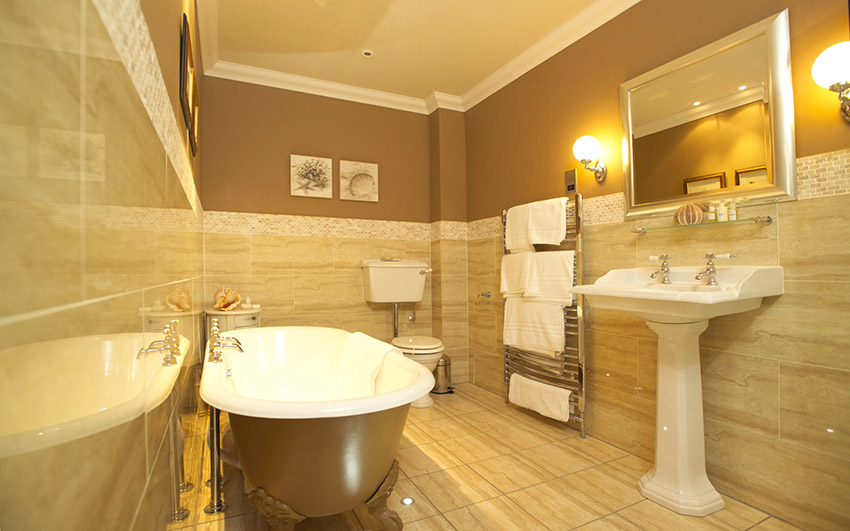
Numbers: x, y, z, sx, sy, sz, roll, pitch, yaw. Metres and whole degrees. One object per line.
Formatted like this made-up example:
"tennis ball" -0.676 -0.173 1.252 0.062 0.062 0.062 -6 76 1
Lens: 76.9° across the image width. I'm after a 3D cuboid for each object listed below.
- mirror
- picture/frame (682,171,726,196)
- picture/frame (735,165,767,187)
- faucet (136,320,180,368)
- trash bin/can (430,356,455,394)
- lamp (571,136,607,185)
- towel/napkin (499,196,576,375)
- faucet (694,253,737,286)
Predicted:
"mirror" 1.606 -0.822 3.126 0.170 1.112 1.026 -12 14 -42
"picture/frame" 1.622 -0.476 3.107 0.017 0.119 0.173 2 -1 -39
"picture/frame" 1.774 -0.487 2.929 0.061 0.117 0.090 -13 -18 15
"faucet" -0.999 0.319 2.057 0.068 0.089 0.214 4 2 10
"trash bin/can" 0.129 0.962 4.742 0.265 0.315 0.254 -1 1 -3
"lamp" 1.150 -0.731 3.707 0.216 0.318 0.167 4 12 30
"towel/napkin" 0.816 0.146 3.953 0.333 1.312 0.765 -9 13 -34
"faucet" 1.580 0.025 2.943 0.192 0.135 0.178 0 -2 -32
